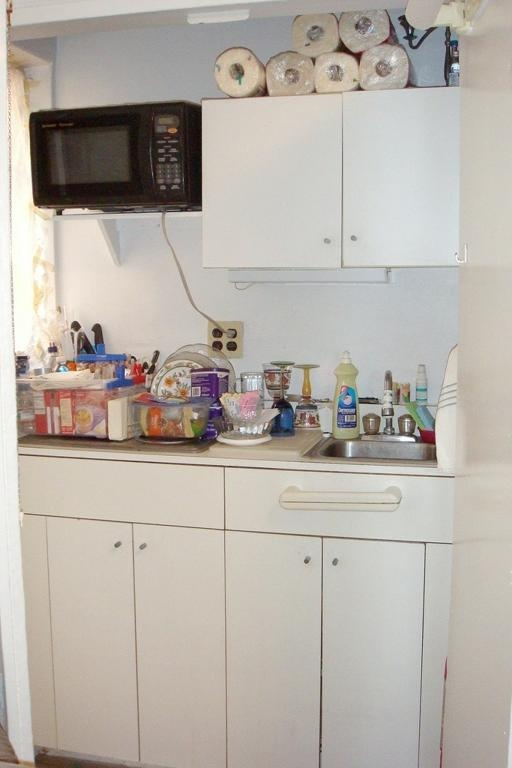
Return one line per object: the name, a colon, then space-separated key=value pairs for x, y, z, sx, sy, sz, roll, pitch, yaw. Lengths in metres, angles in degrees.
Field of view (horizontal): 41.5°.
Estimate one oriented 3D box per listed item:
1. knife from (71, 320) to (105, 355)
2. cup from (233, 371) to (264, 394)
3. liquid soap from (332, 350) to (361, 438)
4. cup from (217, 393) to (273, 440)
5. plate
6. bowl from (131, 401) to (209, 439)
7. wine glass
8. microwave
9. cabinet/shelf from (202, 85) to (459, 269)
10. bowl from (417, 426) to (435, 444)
knife: x=-0.588 y=-0.136 z=2.344 sx=0.087 sy=0.151 sz=0.029 roll=1 pitch=-11 yaw=-26
cup: x=-0.018 y=-0.004 z=2.072 sx=0.089 sy=0.092 sz=0.056 roll=0 pitch=0 yaw=42
liquid soap: x=0.260 y=0.035 z=1.980 sx=0.071 sy=0.253 sz=0.098 roll=0 pitch=7 yaw=3
cup: x=-0.031 y=0.087 z=1.848 sx=0.136 sy=0.096 sz=0.114 roll=-1 pitch=-2 yaw=45
plate: x=-0.206 y=-0.042 z=2.144 sx=0.261 sy=0.150 sz=0.309 roll=0 pitch=8 yaw=4
bowl: x=-0.245 y=0.092 z=1.873 sx=0.151 sy=0.082 sz=0.115 roll=0 pitch=1 yaw=3
wine glass: x=0.117 y=0.047 z=2.077 sx=0.215 sy=0.265 sz=0.118 roll=-3 pitch=3 yaw=-23
microwave: x=-0.398 y=-0.622 z=1.999 sx=0.460 sy=0.304 sz=0.291 roll=0 pitch=1 yaw=12
cabinet/shelf: x=0.213 y=-0.539 z=1.989 sx=0.732 sy=0.476 sz=0.426 roll=-2 pitch=-1 yaw=-2
bowl: x=0.483 y=0.148 z=1.930 sx=0.039 sy=0.025 sz=0.040 roll=1 pitch=1 yaw=0
